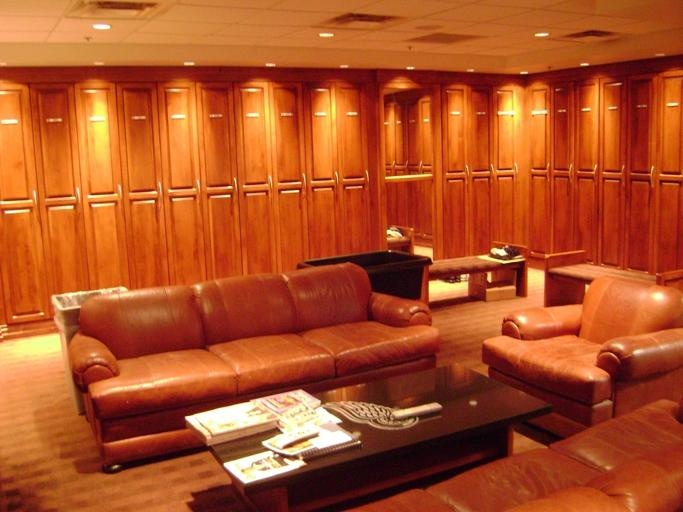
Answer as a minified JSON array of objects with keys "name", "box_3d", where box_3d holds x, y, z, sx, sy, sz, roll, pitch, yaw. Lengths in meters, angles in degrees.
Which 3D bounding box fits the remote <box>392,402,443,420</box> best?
[{"name":"remote","box_3d":[0.474,0.938,3.204,0.351,0.051,0.101,-4,11,-29]}]

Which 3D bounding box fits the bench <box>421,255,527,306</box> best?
[{"name":"bench","box_3d":[1.758,0.298,7.284,1.616,0.633,0.654,-5,9,-26]}]

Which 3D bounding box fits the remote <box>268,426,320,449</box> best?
[{"name":"remote","box_3d":[-0.266,0.996,2.873,0.161,0.033,0.109,-13,13,-26]}]

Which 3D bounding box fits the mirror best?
[{"name":"mirror","box_3d":[1.253,-1.509,9.595,0.669,2.900,2.400,-6,13,-3]}]

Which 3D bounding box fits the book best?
[{"name":"book","box_3d":[-0.359,0.978,2.996,0.778,0.119,0.745,-12,14,-33]}]
